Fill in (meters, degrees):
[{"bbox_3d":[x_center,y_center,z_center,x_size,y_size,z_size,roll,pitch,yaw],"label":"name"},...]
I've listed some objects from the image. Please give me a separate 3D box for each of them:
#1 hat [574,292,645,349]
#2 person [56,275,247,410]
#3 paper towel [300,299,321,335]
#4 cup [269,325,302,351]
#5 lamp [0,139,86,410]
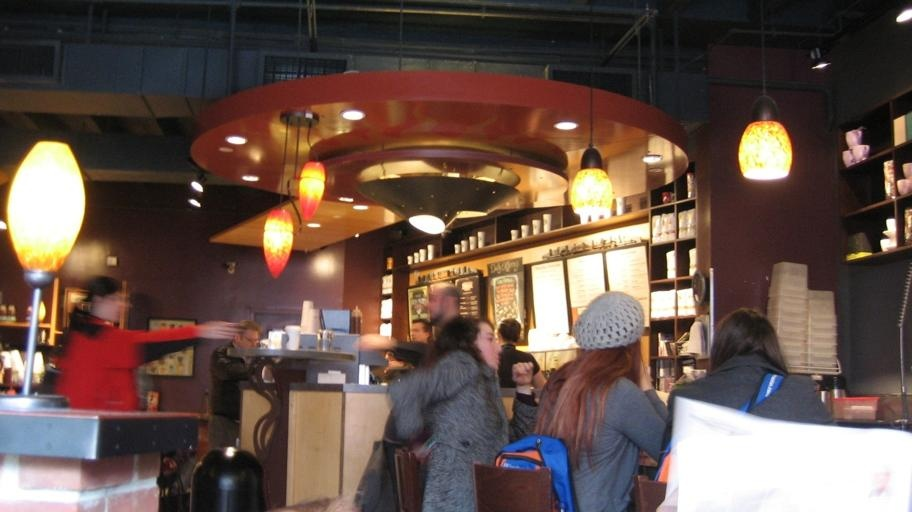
[{"bbox_3d":[1.067,0.448,5.822,0.423,0.246,0.412,-22,21,-27],"label":"hat"},{"bbox_3d":[-2.938,0.877,7.241,1.107,1.036,0.244,-5,30,-35],"label":"person"},{"bbox_3d":[-1.552,0.623,8.803,0.226,0.336,0.211,-2,-16,-4],"label":"paper towel"},{"bbox_3d":[-1.666,0.790,7.961,0.243,0.220,0.377,3,-14,-23],"label":"cup"},{"bbox_3d":[-2.447,0.042,4.898,0.419,1.690,0.487,4,-14,-25],"label":"lamp"}]
